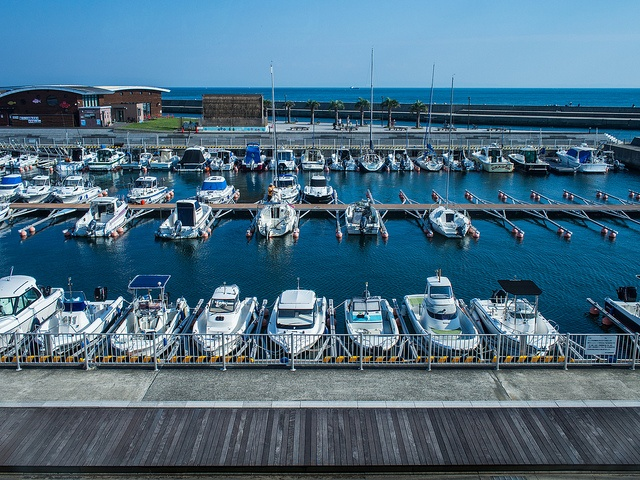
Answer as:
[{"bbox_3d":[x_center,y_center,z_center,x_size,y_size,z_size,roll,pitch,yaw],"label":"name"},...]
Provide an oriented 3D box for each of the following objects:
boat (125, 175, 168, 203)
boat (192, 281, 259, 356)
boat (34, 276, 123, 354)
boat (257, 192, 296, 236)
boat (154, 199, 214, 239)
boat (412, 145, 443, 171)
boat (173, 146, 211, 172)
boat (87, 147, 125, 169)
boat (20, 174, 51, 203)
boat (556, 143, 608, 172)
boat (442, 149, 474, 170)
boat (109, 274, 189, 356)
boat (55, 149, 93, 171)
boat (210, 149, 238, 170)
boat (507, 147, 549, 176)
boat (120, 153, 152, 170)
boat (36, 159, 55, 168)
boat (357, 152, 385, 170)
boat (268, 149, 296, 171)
[{"bbox_3d":[-15.484,-4.368,46.012,2.634,2.158,3.650,2,13,11],"label":"boat"},{"bbox_3d":[-4.214,3.586,22.802,1.648,1.618,4.070,3,23,0],"label":"boat"},{"bbox_3d":[-10.860,3.471,23.235,1.493,2.000,4.347,4,22,-2],"label":"boat"},{"bbox_3d":[-3.221,-1.854,38.582,2.793,2.748,3.414,1,12,5],"label":"boat"},{"bbox_3d":[-9.875,-1.565,38.049,4.121,2.641,2.456,-8,14,-30],"label":"boat"},{"bbox_3d":[13.095,-9.588,62.301,2.983,2.427,3.806,0,12,2],"label":"boat"},{"bbox_3d":[-15.060,-9.592,61.585,4.180,2.729,3.300,-7,14,-28],"label":"boat"},{"bbox_3d":[-25.287,-9.471,60.900,3.705,2.494,2.649,-6,13,-24],"label":"boat"},{"bbox_3d":[-25.746,-4.796,47.912,1.503,1.677,4.348,0,25,-6],"label":"boat"},{"bbox_3d":[31.503,-9.850,62.179,1.752,1.716,4.575,-2,24,7],"label":"boat"},{"bbox_3d":[16.564,-9.464,62.767,2.128,1.287,4.304,2,30,4],"label":"boat"},{"bbox_3d":[-7.689,3.327,23.125,2.771,2.930,6.481,2,9,-4],"label":"boat"},{"bbox_3d":[-28.418,-9.357,60.581,3.745,2.743,5.864,-4,13,-16],"label":"boat"},{"bbox_3d":[-11.607,-9.573,62.161,2.862,2.209,4.366,-2,13,-8],"label":"boat"},{"bbox_3d":[24.552,-9.302,60.858,2.283,2.746,4.336,-4,13,-19],"label":"boat"},{"bbox_3d":[-21.283,-9.238,61.958,1.822,1.176,3.293,2,26,1],"label":"boat"},{"bbox_3d":[-33.254,-9.220,62.985,2.037,1.006,2.648,0,13,1],"label":"boat"},{"bbox_3d":[6.088,-9.150,61.377,2.822,1.987,2.450,4,13,20],"label":"boat"},{"bbox_3d":[-3.895,-9.380,60.429,2.113,1.768,3.630,1,27,2],"label":"boat"}]
